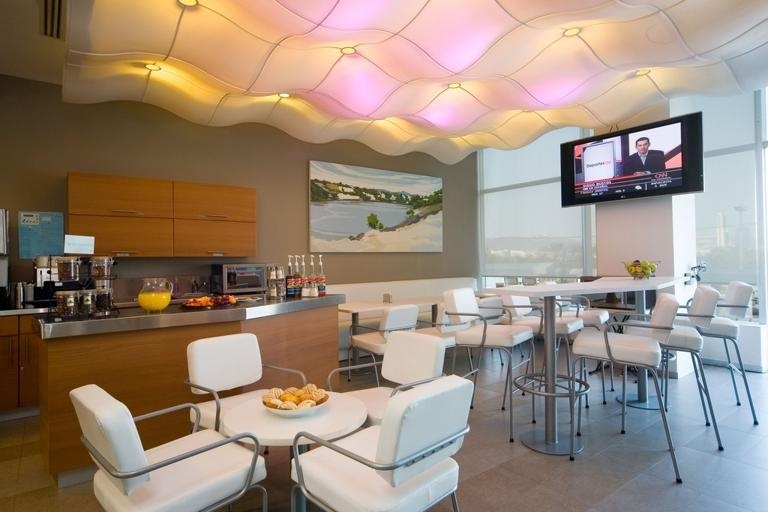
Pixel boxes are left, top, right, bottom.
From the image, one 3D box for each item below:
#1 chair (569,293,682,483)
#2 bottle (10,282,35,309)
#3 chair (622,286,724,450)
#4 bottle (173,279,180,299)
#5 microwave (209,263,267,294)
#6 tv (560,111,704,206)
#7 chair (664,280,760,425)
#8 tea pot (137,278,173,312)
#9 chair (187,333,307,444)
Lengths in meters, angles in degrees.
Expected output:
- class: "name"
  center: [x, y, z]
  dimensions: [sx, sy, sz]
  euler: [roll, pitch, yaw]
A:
- class: "chair"
  center: [2.515, 1.159, 5.086]
  dimensions: [1.111, 1.377, 1.072]
  euler: [1, 4, 8]
- class: "bottle"
  center: [-4.240, 0.444, 5.783]
  dimensions: [0.240, 0.242, 0.226]
  euler: [-5, 13, -19]
- class: "chair"
  center: [3.305, 1.196, 5.373]
  dimensions: [0.935, 1.366, 0.858]
  euler: [-19, -17, 16]
- class: "bottle"
  center: [-2.737, 0.399, 6.494]
  dimensions: [0.106, 0.222, 0.183]
  euler: [-6, 14, -21]
- class: "microwave"
  center: [-1.959, 0.274, 6.620]
  dimensions: [0.596, 0.434, 0.604]
  euler: [-9, 14, -33]
- class: "tv"
  center: [3.424, -1.350, 6.752]
  dimensions: [1.516, 0.812, 0.128]
  euler: [-2, 1, 42]
- class: "chair"
  center: [3.818, 1.054, 5.821]
  dimensions: [0.787, 1.256, 0.728]
  euler: [-2, -11, 23]
- class: "tea pot"
  center: [-2.309, 0.396, 4.987]
  dimensions: [0.311, 0.340, 0.367]
  euler: [1, 3, 5]
- class: "chair"
  center: [-1.279, 1.233, 4.216]
  dimensions: [0.723, 0.932, 0.738]
  euler: [-4, 13, -35]
